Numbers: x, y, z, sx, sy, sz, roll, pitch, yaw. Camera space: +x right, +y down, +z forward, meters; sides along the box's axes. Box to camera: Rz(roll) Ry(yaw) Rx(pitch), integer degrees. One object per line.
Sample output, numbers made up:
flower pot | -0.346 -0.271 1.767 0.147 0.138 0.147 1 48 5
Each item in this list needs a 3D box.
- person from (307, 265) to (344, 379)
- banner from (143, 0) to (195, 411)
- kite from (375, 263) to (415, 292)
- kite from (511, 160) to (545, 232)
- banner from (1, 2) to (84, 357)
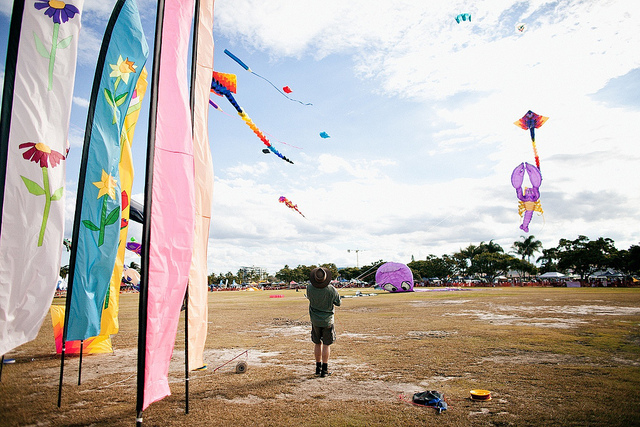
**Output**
person | 0.083 2.431 8.588 0.699 2.406 0.683 -1 -11 -2
banner | -2.399 -0.458 6.125 0.616 6.775 1.009 1 -12 -15
kite | 7.648 5.966 38.960 2.688 2.945 3.542 -4 20 1
kite | 11.628 -1.379 20.827 1.660 4.215 0.841 7 16 38
banner | -4.641 -0.698 6.043 0.972 5.715 1.134 5 -14 -32
